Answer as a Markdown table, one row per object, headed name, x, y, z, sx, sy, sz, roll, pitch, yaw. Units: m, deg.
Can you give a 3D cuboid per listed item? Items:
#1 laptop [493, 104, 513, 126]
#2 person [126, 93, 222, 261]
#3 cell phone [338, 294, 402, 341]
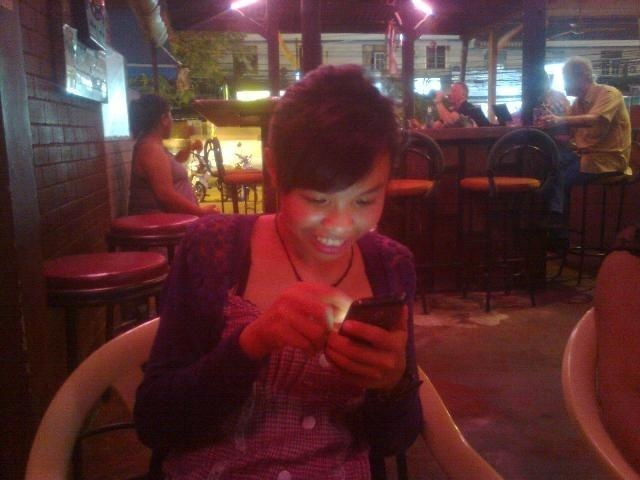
| name | x | y | z | sx | sy | sz | roll | pitch | yaw |
| --- | --- | --- | --- | --- | --- | --- | --- | --- | --- |
| laptop | 1.946 | -1.335 | 5.887 | 0.211 | 0.210 | 0.274 | 4 | 16 | 16 |
| person | -1.382 | -0.434 | 5.097 | 0.894 | 1.701 | 0.733 | 2 | 16 | -8 |
| cell phone | 0.146 | 0.213 | 1.538 | 0.142 | 0.142 | 0.034 | 9 | 22 | -5 |
